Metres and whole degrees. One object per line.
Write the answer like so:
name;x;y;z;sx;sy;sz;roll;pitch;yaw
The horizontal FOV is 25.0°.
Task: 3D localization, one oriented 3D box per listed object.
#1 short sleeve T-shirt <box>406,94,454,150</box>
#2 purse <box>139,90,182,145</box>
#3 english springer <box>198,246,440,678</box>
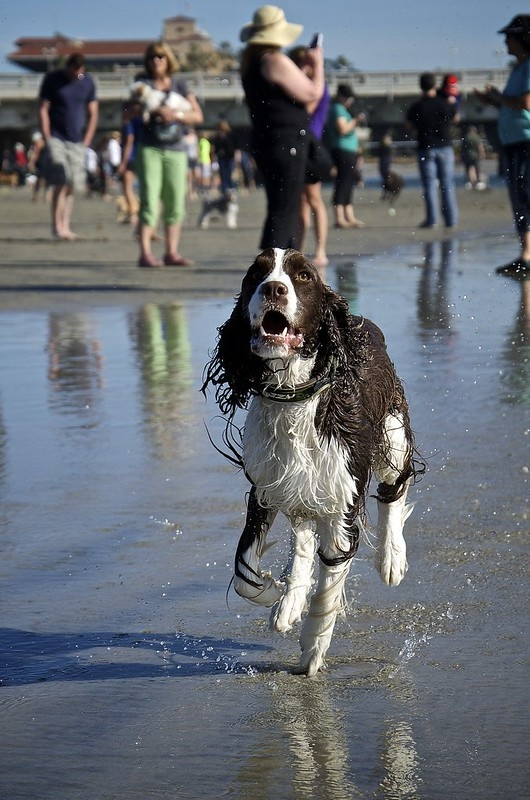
short sleeve T-shirt;2.076;-3.487;14.995;0.578;0.696;0.459;-1;9;9
purse;-0.837;-2.327;9.776;0.318;0.517;0.440;-2;8;4
english springer;0.105;0.119;3.289;0.449;1.072;0.896;0;9;15
